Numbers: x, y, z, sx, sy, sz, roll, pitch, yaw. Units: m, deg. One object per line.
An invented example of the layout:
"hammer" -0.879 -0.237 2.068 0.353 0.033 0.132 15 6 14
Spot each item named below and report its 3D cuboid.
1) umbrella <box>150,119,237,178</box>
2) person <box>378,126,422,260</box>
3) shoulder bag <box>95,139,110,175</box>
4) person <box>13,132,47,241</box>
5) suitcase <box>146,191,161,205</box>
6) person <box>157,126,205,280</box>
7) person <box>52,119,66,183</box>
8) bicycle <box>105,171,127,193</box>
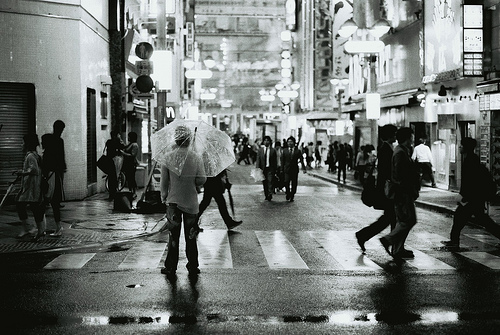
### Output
"umbrella" -1.172 -0.366 12.277 1.677 1.218 0.977 -1 6 -16
"person" 3.453 0.590 13.460 0.855 2.984 0.562 -2 6 -28
"shoulder bag" -5.586 -0.349 22.511 0.481 1.323 1.343 -1 6 -14
"person" -5.574 0.464 15.086 0.739 2.639 1.010 -2 6 -21
"suitcase" -3.200 0.995 19.659 0.392 0.436 0.098 -3 -16 7
"person" -1.393 0.607 12.306 0.845 3.046 0.913 -5 22 -19
"person" -5.061 -0.444 15.796 0.293 1.588 1.031 -1 6 -18
"bicycle" -5.295 0.557 24.160 0.886 0.907 0.218 -4 19 -28
